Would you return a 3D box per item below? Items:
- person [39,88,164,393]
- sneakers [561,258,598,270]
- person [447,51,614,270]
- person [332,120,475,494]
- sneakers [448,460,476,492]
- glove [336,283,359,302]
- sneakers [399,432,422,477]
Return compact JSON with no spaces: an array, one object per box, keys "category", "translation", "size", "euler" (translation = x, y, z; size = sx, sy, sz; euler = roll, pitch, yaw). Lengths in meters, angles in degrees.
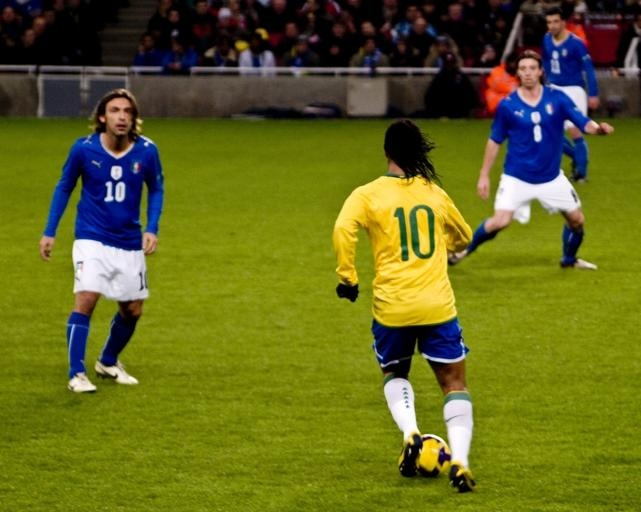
[{"category":"person","translation":[-1.535,-0.086,7.780],"size":[0.871,2.131,0.575],"euler":[-3,17,-16]},{"category":"sneakers","translation":[2.526,0.092,10.679],"size":[0.390,0.166,0.133],"euler":[-3,10,3]},{"category":"person","translation":[1.954,-0.837,10.025],"size":[1.056,2.066,0.739],"euler":[4,17,8]},{"category":"person","translation":[0.651,0.291,6.775],"size":[0.749,2.100,1.008],"euler":[-14,23,-43]},{"category":"sneakers","translation":[0.833,1.334,6.536],"size":[0.112,0.211,0.098],"euler":[-26,-12,-39]},{"category":"glove","translation":[0.178,0.226,6.845],"size":[0.136,0.128,0.106],"euler":[-1,5,-25]},{"category":"sneakers","translation":[0.549,1.209,6.663],"size":[0.126,0.262,0.108],"euler":[15,42,11]}]
